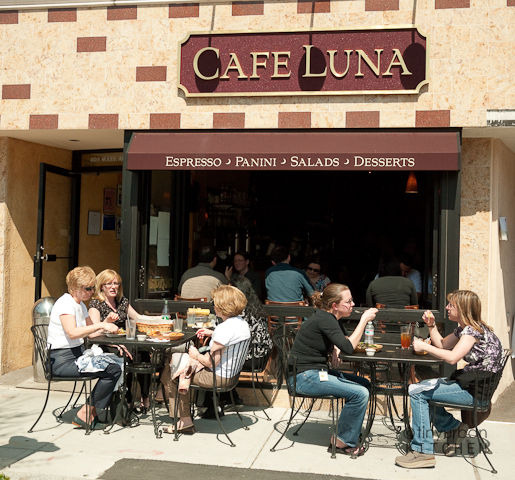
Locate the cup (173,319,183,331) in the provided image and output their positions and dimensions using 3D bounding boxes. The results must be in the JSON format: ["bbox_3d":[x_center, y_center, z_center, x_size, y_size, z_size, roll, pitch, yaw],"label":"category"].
[{"bbox_3d":[-0.837,0.907,6.674,0.097,0.125,0.109,0,-6,-2],"label":"cup"}]

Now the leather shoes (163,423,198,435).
[{"bbox_3d":[-0.776,1.918,6.288,0.284,0.088,0.122,4,-14,-3],"label":"leather shoes"}]

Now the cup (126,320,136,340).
[{"bbox_3d":[-1.269,0.892,6.288,0.092,0.188,0.186,0,3,-14],"label":"cup"}]

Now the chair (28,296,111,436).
[{"bbox_3d":[-2.347,1.358,7.255,1.025,1.809,1.140,0,-1,4],"label":"chair"}]

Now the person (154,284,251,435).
[{"bbox_3d":[-0.503,1.203,6.306,0.870,1.513,0.544,1,2,8],"label":"person"}]

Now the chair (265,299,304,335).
[{"bbox_3d":[0.319,0.921,7.746,0.338,0.564,0.386,1,4,12],"label":"chair"}]

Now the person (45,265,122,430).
[{"bbox_3d":[-1.775,1.092,6.402,0.730,1.634,0.552,3,3,41],"label":"person"}]

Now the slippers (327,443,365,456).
[{"bbox_3d":[0.836,1.988,5.887,0.271,0.084,0.134,-2,3,7],"label":"slippers"}]

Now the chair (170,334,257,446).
[{"bbox_3d":[-0.467,1.506,6.433,0.811,1.135,0.809,3,4,30],"label":"chair"}]

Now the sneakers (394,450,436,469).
[{"bbox_3d":[1.434,1.985,5.695,0.337,0.175,0.146,4,-6,5],"label":"sneakers"}]

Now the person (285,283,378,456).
[{"bbox_3d":[0.710,1.209,6.002,0.821,1.581,0.491,1,2,12],"label":"person"}]

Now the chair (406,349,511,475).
[{"bbox_3d":[1.891,1.686,6.244,0.957,1.500,0.955,4,-15,12],"label":"chair"}]

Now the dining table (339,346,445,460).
[{"bbox_3d":[1.359,1.611,6.465,0.740,0.660,0.781,12,4,-13],"label":"dining table"}]

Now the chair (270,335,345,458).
[{"bbox_3d":[0.511,1.573,6.672,0.872,1.581,1.007,-1,-4,19],"label":"chair"}]

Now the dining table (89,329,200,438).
[{"bbox_3d":[-1.229,1.523,6.665,1.593,0.973,1.673,6,-9,-17],"label":"dining table"}]

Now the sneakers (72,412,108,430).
[{"bbox_3d":[-1.723,1.874,6.389,0.394,0.160,0.145,13,-5,-26],"label":"sneakers"}]

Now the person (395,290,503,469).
[{"bbox_3d":[1.739,1.253,5.760,0.874,1.592,0.692,-1,3,-36],"label":"person"}]
